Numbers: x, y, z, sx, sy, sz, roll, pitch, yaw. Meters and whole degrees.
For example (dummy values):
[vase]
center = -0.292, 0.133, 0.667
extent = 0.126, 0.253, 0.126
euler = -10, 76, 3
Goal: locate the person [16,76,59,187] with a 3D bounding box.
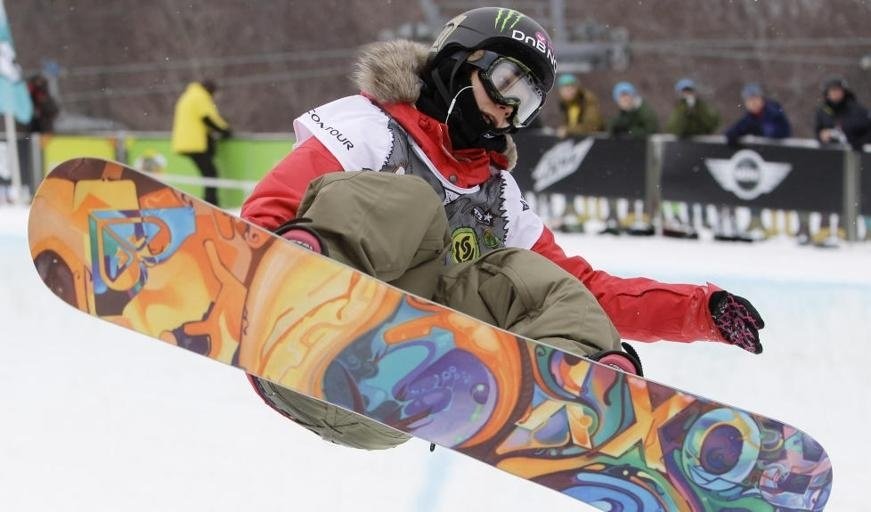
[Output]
[person]
center = -4.323, -1.411, 14.711
extent = 0.315, 1.650, 0.247
euler = 11, 18, -1

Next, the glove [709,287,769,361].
[glove]
center = 2.136, 0.405, 9.549
extent = 0.153, 0.416, 0.641
euler = 3, 16, -35
